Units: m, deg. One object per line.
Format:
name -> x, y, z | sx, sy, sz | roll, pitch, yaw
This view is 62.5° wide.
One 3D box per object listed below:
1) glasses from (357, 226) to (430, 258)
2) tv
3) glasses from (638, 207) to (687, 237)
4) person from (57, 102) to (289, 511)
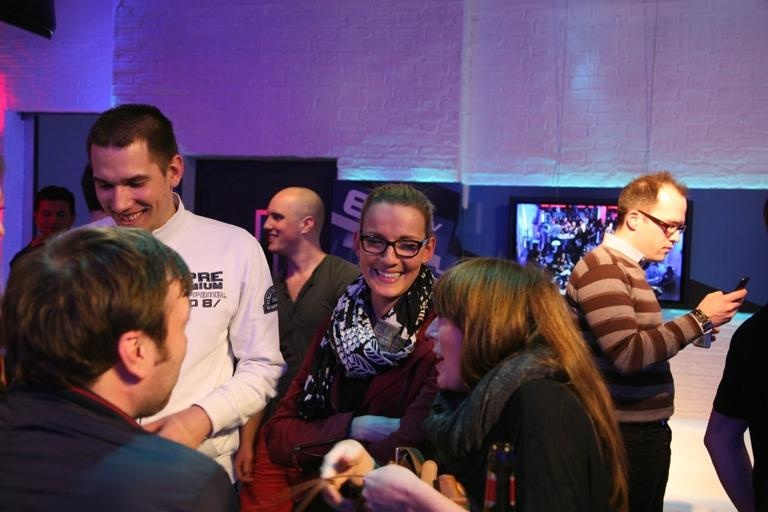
glasses -> 0.042, -0.036, 2.472 | 0.261, 0.091, 0.067 | 1, 5, 0
tv -> 1.306, -0.014, 3.628 | 0.842, 0.510, 0.088 | 1, -7, 7
glasses -> 1.369, -0.148, 3.096 | 0.154, 0.046, 0.157 | 34, 12, 34
person -> -0.737, 0.035, 2.503 | 0.589, 1.231, 0.608 | 6, 7, 41
